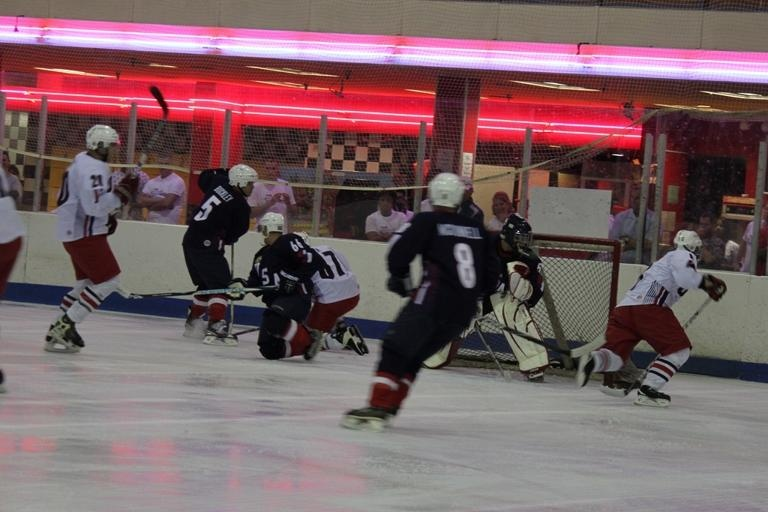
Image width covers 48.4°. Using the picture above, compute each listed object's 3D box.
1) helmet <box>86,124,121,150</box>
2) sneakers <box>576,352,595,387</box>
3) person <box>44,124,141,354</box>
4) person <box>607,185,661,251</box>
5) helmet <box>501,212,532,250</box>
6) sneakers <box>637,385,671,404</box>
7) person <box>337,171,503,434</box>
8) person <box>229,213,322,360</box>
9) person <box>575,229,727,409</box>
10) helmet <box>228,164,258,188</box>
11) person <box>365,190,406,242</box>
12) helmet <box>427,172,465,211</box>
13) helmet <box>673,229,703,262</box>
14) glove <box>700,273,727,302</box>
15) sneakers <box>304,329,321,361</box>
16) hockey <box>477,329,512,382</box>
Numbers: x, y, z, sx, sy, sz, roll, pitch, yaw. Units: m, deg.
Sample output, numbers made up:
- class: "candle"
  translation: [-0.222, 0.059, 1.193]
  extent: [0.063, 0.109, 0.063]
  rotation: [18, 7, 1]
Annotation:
- class: "helmet"
  translation: [-2.747, -1.160, 8.413]
  extent: [0.337, 0.248, 0.231]
  rotation: [-19, 27, -10]
- class: "sneakers"
  translation: [1.926, 1.125, 8.241]
  extent: [0.162, 0.341, 0.129]
  rotation: [7, 13, -36]
- class: "person"
  translation: [-2.840, -0.192, 8.355]
  extent: [0.730, 2.176, 0.831]
  rotation: [4, 4, -18]
- class: "person"
  translation: [3.019, -0.496, 10.296]
  extent: [0.656, 1.040, 0.595]
  rotation: [8, 14, 20]
- class: "helmet"
  translation: [1.405, -0.251, 8.886]
  extent: [0.379, 0.341, 0.311]
  rotation: [13, -2, 22]
- class: "sneakers"
  translation: [2.520, 1.331, 8.137]
  extent: [0.397, 0.231, 0.134]
  rotation: [-1, 0, 14]
- class: "person"
  translation: [0.336, 0.379, 6.507]
  extent: [0.923, 1.902, 0.818]
  rotation: [16, -15, -15]
- class: "person"
  translation: [-1.044, 0.333, 9.096]
  extent: [0.710, 1.522, 0.925]
  rotation: [4, 4, -21]
- class: "person"
  translation: [2.669, 0.564, 8.453]
  extent: [1.514, 1.849, 0.972]
  rotation: [16, -14, -22]
- class: "helmet"
  translation: [-1.635, -0.954, 9.927]
  extent: [0.334, 0.299, 0.233]
  rotation: [-9, 48, -12]
- class: "person"
  translation: [0.026, -0.471, 10.896]
  extent: [0.552, 0.698, 0.413]
  rotation: [-2, 5, -3]
- class: "helmet"
  translation: [0.471, -0.512, 6.609]
  extent: [0.231, 0.255, 0.305]
  rotation: [7, 7, 16]
- class: "helmet"
  translation: [3.056, -0.108, 8.717]
  extent: [0.304, 0.318, 0.370]
  rotation: [8, 10, 32]
- class: "glove"
  translation: [3.147, 0.315, 8.264]
  extent: [0.142, 0.207, 0.378]
  rotation: [-42, -35, 24]
- class: "sneakers"
  translation: [-0.732, 0.957, 9.046]
  extent: [0.167, 0.346, 0.131]
  rotation: [6, -11, 44]
- class: "hockey"
  translation: [1.185, 1.103, 9.085]
  extent: [0.250, 0.679, 0.057]
  rotation: [-22, 25, 49]
